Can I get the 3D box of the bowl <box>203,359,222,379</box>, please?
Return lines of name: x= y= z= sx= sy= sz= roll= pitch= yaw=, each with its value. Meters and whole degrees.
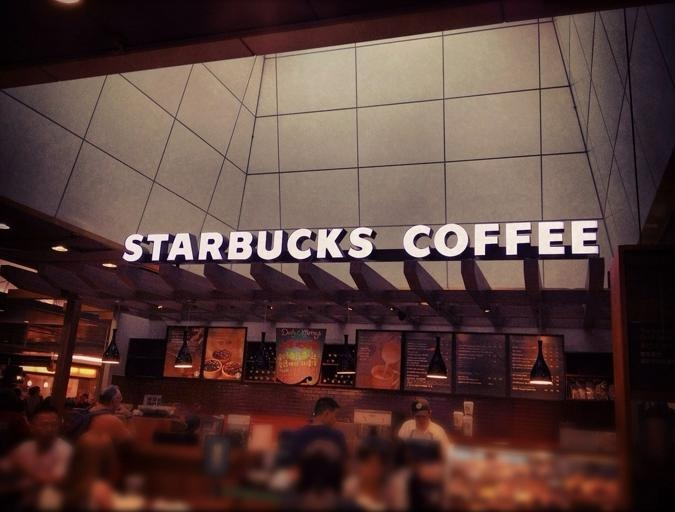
bowl: x=-2.287 y=2.046 z=9.613 sx=0.319 sy=0.240 sz=0.329 roll=2 pitch=4 yaw=0

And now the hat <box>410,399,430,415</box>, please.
hat: x=0.852 y=1.551 z=5.474 sx=0.164 sy=0.132 sz=0.246 roll=-3 pitch=-16 yaw=12
